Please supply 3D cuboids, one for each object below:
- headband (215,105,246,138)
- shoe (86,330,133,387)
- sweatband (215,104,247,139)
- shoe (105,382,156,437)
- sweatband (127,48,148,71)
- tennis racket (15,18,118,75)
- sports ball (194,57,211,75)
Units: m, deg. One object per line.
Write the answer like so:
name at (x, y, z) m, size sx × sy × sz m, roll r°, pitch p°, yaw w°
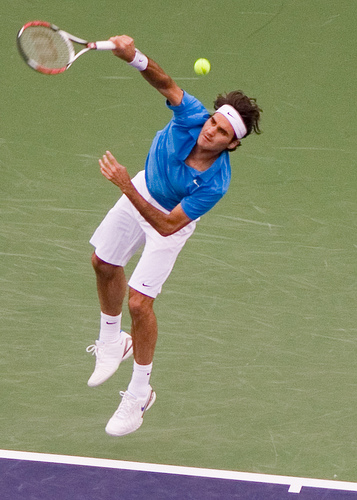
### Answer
headband at (0.319, -0.759, 3.210) m, size 0.185 × 0.070 × 0.164 m, roll 44°, pitch -1°, yaw -30°
shoe at (-0.525, 0.828, 4.144) m, size 0.176 × 0.401 × 0.439 m, roll 21°, pitch 21°, yaw 28°
sweatband at (0.321, -0.765, 3.200) m, size 0.168 × 0.077 × 0.193 m, roll 49°, pitch 3°, yaw 41°
shoe at (-0.321, 1.106, 3.700) m, size 0.214 × 0.204 × 0.464 m, roll 26°, pitch 49°, yaw 15°
sweatband at (-0.212, -1.053, 3.047) m, size 0.087 × 0.098 × 0.108 m, roll 52°, pitch 28°, yaw -15°
tennis racket at (-0.645, -1.112, 3.040) m, size 0.487 × 0.283 × 0.642 m, roll 1°, pitch 18°, yaw -24°
sports ball at (0.230, -1.744, 5.171) m, size 0.170 × 0.143 × 0.176 m, roll 3°, pitch 2°, yaw 0°
